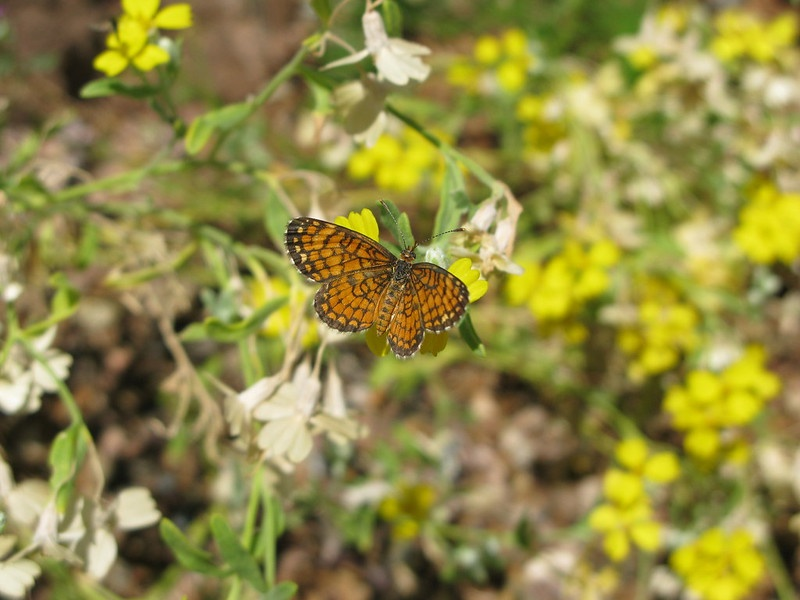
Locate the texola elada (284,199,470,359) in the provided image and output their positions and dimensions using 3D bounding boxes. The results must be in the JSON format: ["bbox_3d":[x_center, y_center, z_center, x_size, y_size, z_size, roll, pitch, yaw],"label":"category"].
[{"bbox_3d":[-0.034,-0.020,1.534,0.265,0.088,0.190,26,105,6],"label":"texola elada"}]
